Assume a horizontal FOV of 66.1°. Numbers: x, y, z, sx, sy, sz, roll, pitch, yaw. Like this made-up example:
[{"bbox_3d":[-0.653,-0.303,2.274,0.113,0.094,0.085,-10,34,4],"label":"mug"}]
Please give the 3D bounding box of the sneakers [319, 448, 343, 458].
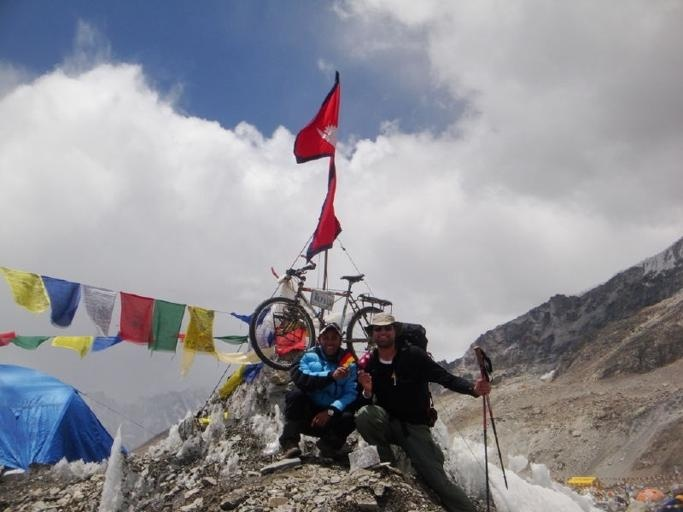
[{"bbox_3d":[-0.326,5.100,13.678,0.622,0.322,0.255,-1,-1,0],"label":"sneakers"}]
